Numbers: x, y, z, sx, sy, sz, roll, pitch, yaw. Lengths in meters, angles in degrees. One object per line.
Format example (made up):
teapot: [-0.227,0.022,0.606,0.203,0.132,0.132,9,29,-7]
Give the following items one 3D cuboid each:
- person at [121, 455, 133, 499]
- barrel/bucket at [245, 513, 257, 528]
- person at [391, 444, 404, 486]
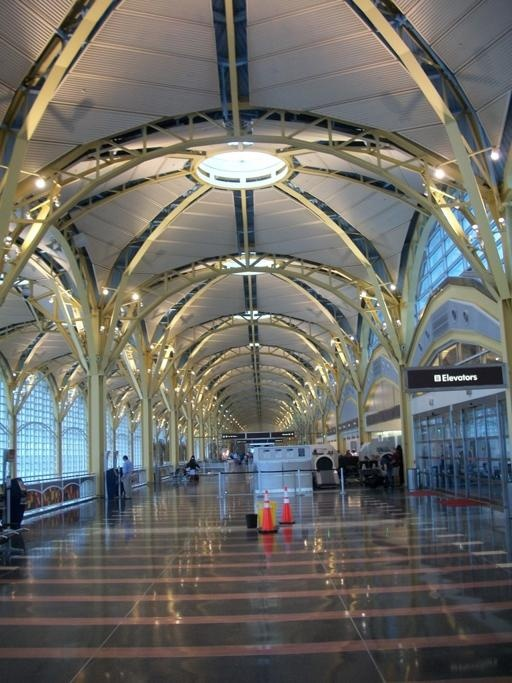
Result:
person: [-6.420,6.806,26.011,0.377,2.099,1.475,-2,-12,-16]
barrel/bucket: [-0.124,4.950,14.321,0.324,0.330,0.314,1,-12,0]
person: [8.197,7.164,30.075,0.617,2.226,0.706,-10,-12,23]
